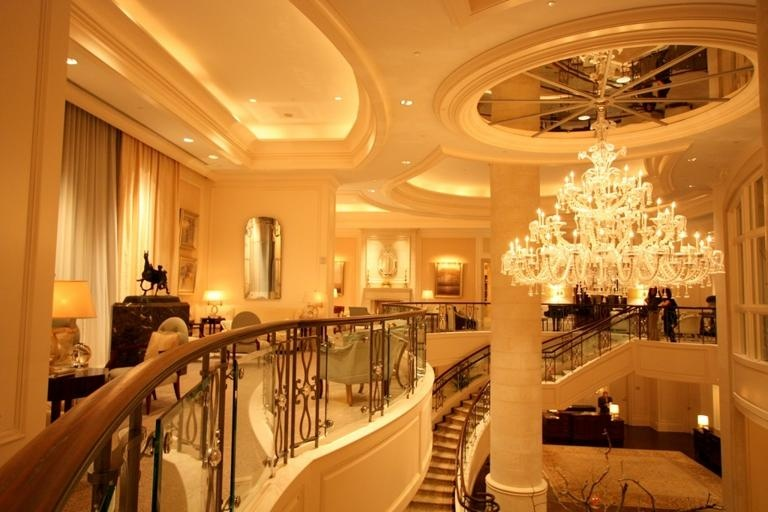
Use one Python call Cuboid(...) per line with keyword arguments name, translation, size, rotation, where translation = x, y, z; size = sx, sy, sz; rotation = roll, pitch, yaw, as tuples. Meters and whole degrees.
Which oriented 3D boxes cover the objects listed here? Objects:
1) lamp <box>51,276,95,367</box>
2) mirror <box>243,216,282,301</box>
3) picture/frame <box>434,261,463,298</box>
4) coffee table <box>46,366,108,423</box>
Cuboid(name="lamp", translation=(-3.855, 0.839, 6.707), size=(0.447, 1.078, 0.739), rotation=(2, -5, -32))
Cuboid(name="mirror", translation=(-2.853, 0.004, 12.729), size=(0.944, 2.042, 0.047), rotation=(-4, -12, 9))
Cuboid(name="picture/frame", translation=(2.306, 0.878, 19.216), size=(1.239, 1.532, 0.158), rotation=(1, -9, -1))
Cuboid(name="coffee table", translation=(-3.763, 1.696, 6.422), size=(0.519, 0.455, 0.607), rotation=(5, -12, -21))
